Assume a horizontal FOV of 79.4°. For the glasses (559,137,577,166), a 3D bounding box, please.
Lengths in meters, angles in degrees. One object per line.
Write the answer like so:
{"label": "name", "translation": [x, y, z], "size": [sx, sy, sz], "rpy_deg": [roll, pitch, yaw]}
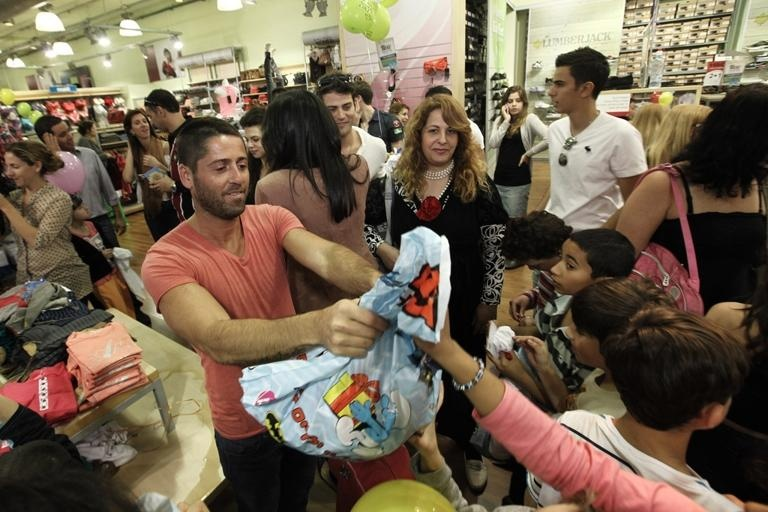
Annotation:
{"label": "glasses", "translation": [1.338, -0.762, 3.418], "size": [0.051, 0.191, 0.119], "rpy_deg": [1, 25, -32]}

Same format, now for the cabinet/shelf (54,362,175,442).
{"label": "cabinet/shelf", "translation": [-1.622, 0.964, 2.837], "size": [0.409, 0.314, 0.414], "rpy_deg": [13, 25, 43]}

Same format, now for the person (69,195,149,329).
{"label": "person", "translation": [-2.570, 0.151, 4.220], "size": [0.343, 1.396, 0.352], "rpy_deg": [13, 36, 42]}

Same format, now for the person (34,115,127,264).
{"label": "person", "translation": [-3.433, -0.574, 5.470], "size": [0.648, 2.131, 0.538], "rpy_deg": [-4, 40, -10]}

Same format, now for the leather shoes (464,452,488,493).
{"label": "leather shoes", "translation": [0.582, 1.390, 2.939], "size": [0.098, 0.107, 0.269], "rpy_deg": [-7, 51, 6]}

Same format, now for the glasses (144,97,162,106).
{"label": "glasses", "translation": [-2.149, -1.403, 4.233], "size": [0.199, 0.085, 0.057], "rpy_deg": [10, 26, 35]}

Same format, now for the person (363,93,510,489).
{"label": "person", "translation": [0.354, 0.367, 3.000], "size": [0.849, 2.683, 0.838], "rpy_deg": [5, 18, 29]}

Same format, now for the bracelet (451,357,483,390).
{"label": "bracelet", "translation": [0.309, 0.450, 1.724], "size": [0.103, 0.040, 0.119], "rpy_deg": [-25, 29, 42]}

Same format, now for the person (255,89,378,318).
{"label": "person", "translation": [-0.459, -0.230, 3.139], "size": [0.714, 1.807, 0.675], "rpy_deg": [-7, 42, -12]}

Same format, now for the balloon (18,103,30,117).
{"label": "balloon", "translation": [-5.938, -2.386, 7.584], "size": [0.182, 0.215, 0.295], "rpy_deg": [-20, 25, -34]}
